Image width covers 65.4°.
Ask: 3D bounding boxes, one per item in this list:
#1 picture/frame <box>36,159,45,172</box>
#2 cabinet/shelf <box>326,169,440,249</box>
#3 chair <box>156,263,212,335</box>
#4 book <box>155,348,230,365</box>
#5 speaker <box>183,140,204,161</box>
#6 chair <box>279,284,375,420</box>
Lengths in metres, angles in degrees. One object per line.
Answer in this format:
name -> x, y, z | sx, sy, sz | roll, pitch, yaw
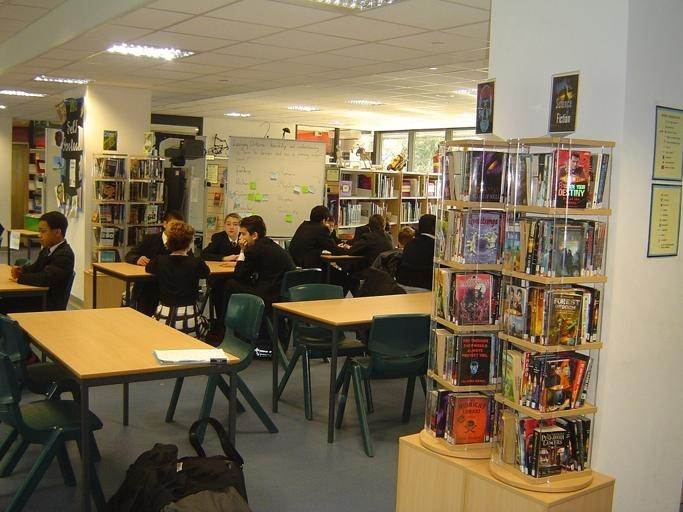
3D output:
picture/frame -> -9.721, -2.894, 17.091 | 0.178, 0.386, 0.235 | -2, 8, -33
cabinet/shelf -> 0.655, -0.927, 10.315 | 1.976, 1.228, 0.516 | -2, 5, -41
chair -> -1.639, 0.383, 5.802 | 0.698, 0.933, 0.688 | 2, 10, -12
book -> -0.919, 0.592, 3.211 | 0.420, 0.057, 0.301 | -1, 7, -24
speaker -> -2.503, -1.787, 8.917 | 0.411, 0.375, 0.212 | -4, 9, -38
chair -> -0.224, 0.827, 5.106 | 0.933, 1.447, 1.045 | 0, 0, -30
